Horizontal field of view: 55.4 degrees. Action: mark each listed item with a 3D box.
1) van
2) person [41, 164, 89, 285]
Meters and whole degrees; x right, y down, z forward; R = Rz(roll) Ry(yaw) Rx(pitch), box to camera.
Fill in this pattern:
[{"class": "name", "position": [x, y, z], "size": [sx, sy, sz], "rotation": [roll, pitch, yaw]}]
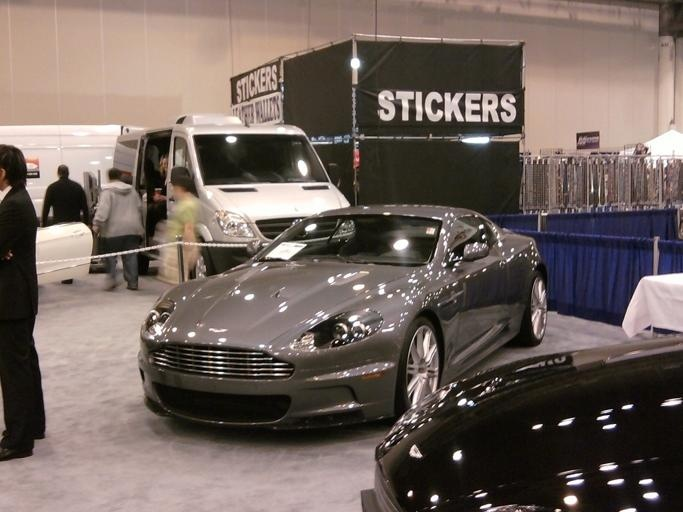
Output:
[{"class": "van", "position": [-2.343, -1.182, 12.048], "size": [2.490, 3.287, 5.781], "rotation": [-2, 4, -33]}, {"class": "person", "position": [-5.223, -0.575, 12.309], "size": [0.797, 2.537, 0.532], "rotation": [-2, -24, -26]}]
